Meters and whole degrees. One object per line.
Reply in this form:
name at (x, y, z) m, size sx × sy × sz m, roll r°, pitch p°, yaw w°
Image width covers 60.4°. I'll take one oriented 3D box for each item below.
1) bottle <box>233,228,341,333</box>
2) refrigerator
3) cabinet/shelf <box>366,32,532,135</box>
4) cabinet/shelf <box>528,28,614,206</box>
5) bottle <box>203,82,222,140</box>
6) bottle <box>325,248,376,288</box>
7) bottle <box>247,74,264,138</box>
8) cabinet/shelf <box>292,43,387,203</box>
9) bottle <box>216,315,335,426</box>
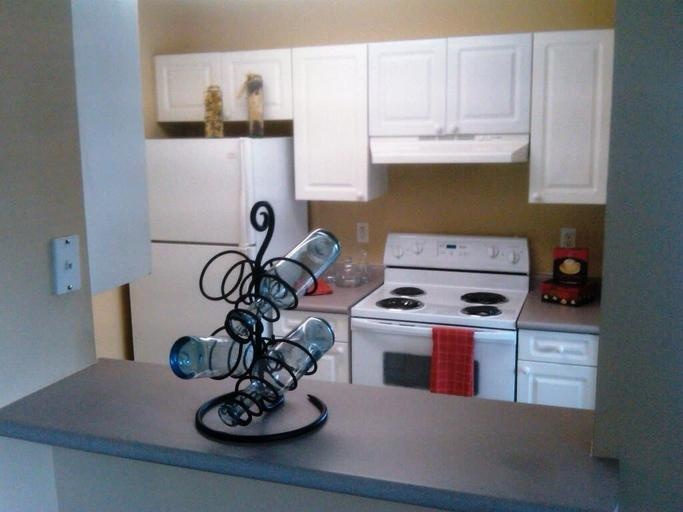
bottle at (-0.098, 0.041, 1.268) m, size 0.202 × 0.190 × 0.079 m, roll -7°, pitch 14°, yaw -33°
refrigerator at (-0.820, 0.182, 3.370) m, size 0.608 × 1.138 × 0.626 m, roll 3°, pitch -30°, yaw -14°
cabinet/shelf at (0.555, -0.823, 3.127) m, size 0.808 × 0.510 × 0.476 m, roll 0°, pitch -5°, yaw 9°
cabinet/shelf at (1.162, -0.699, 2.937) m, size 0.452 × 0.832 × 0.374 m, roll 5°, pitch 13°, yaw 24°
bottle at (-0.705, -0.798, 3.230) m, size 0.107 × 0.285 × 0.281 m, roll -2°, pitch 12°, yaw -12°
bottle at (0.048, 0.078, 3.482) m, size 0.300 × 0.264 × 0.174 m, roll -2°, pitch 6°, yaw -19°
bottle at (-0.474, -0.820, 3.196) m, size 0.095 × 0.334 × 0.103 m, roll 1°, pitch 12°, yaw 0°
cabinet/shelf at (-0.099, -0.726, 3.318) m, size 0.473 × 0.767 × 0.469 m, roll -1°, pitch 17°, yaw -4°
bottle at (-0.104, 0.211, 1.306) m, size 0.091 × 0.099 × 0.254 m, roll -26°, pitch -5°, yaw 37°
